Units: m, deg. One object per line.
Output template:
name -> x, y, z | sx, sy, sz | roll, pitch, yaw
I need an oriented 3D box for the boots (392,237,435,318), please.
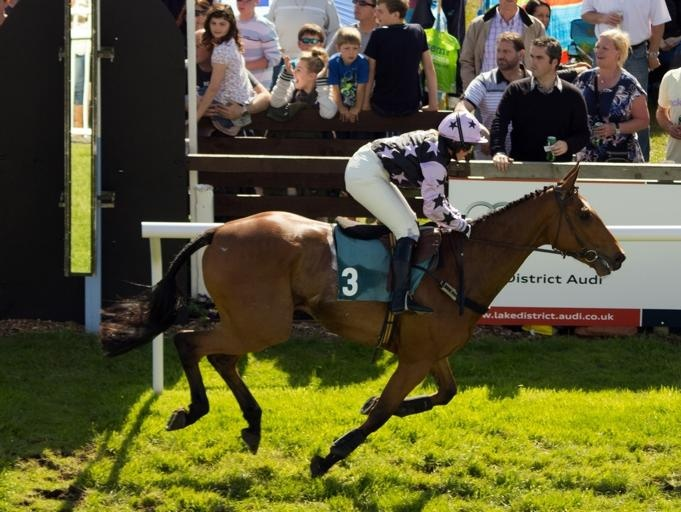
boots -> 0.451, 0.125, 7.472 | 0.278, 0.492, 0.328 | -6, 14, 2

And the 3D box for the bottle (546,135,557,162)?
bottle -> 1.852, -0.937, 9.586 | 0.105, 0.226, 0.167 | -4, 14, 10

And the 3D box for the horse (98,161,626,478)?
horse -> 0.105, 0.430, 7.713 | 3.742, 1.984, 0.747 | 2, 0, 2

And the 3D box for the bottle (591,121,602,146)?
bottle -> 2.372, -1.122, 10.065 | 0.097, 0.204, 0.102 | -7, 14, 2
